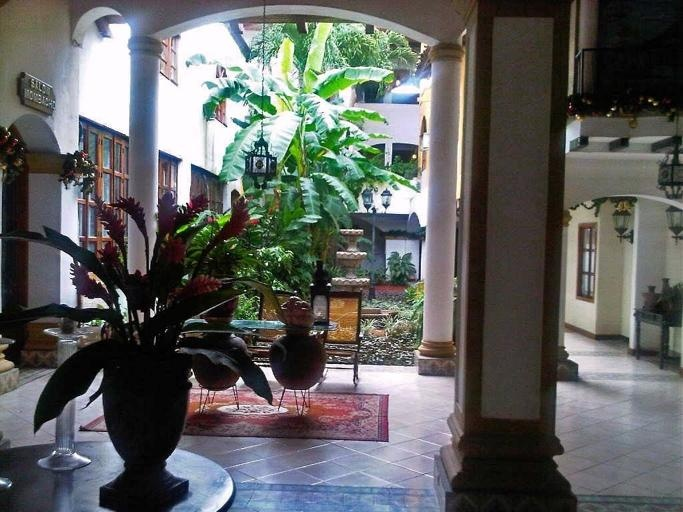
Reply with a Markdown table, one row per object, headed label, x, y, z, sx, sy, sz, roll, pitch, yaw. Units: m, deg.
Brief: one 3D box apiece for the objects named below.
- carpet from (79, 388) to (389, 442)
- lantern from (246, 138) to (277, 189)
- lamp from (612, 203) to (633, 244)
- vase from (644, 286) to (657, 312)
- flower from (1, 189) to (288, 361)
| label | x | y | z | sx | sy | sz | roll | pitch | yaw |
| --- | --- | --- | --- | --- | --- | --- | --- | --- | --- |
| carpet | -0.836 | 1.520 | 5.850 | 2.990 | 0.007 | 3.115 | 3 | -6 | -12 |
| lantern | -0.957 | -1.134 | 7.086 | 0.375 | 0.614 | 0.326 | 2 | 3 | -7 |
| lamp | 4.539 | -0.542 | 9.500 | 0.284 | 0.643 | 1.691 | 3 | 3 | 24 |
| vase | 4.369 | 0.579 | 8.352 | 0.169 | 0.323 | 0.633 | 3 | 3 | 27 |
| flower | -0.930 | 0.083 | 2.637 | 0.940 | 0.480 | 0.923 | 2 | 1 | -24 |
